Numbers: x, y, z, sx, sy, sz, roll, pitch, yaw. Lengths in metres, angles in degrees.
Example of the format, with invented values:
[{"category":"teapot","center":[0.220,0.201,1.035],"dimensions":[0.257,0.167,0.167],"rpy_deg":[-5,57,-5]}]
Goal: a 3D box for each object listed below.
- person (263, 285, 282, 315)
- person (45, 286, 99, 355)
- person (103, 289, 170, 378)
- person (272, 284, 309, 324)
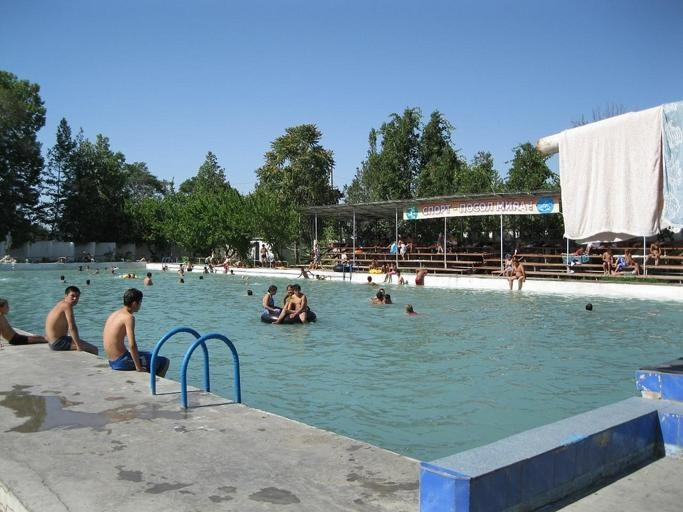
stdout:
[{"category":"person","center":[-2.381,1.557,18.726],"dimensions":[0.627,1.107,0.937],"rpy_deg":[-1,3,2]},{"category":"person","center":[-4.721,1.145,9.468],"dimensions":[0.725,1.225,0.586],"rpy_deg":[1,0,35]},{"category":"person","center":[-3.122,1.109,7.985],"dimensions":[0.719,1.314,0.544],"rpy_deg":[1,0,39]},{"category":"person","center":[-1.360,1.443,15.696],"dimensions":[0.684,1.102,1.048],"rpy_deg":[10,17,25]}]
